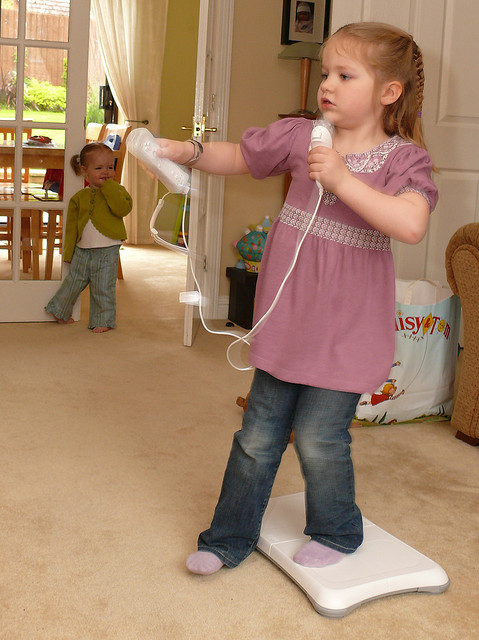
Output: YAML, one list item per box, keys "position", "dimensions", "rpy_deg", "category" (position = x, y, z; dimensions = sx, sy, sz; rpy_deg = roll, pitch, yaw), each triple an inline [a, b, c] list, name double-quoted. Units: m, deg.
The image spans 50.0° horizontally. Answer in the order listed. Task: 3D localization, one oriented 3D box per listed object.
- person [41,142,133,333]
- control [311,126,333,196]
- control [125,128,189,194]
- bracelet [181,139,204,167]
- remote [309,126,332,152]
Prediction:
- position: [-0.855, -0.457, 2.883]
  dimensions: [0.472, 1.032, 0.261]
  rpy_deg: [1, 7, -15]
  category: "person"
- position: [0.107, -0.211, 0.690]
  dimensions: [0.026, 0.102, 0.025]
  rpy_deg: [-3, -14, 1]
  category: "control"
- position: [-0.132, -0.265, 0.847]
  dimensions: [0.101, 0.103, 0.075]
  rpy_deg: [2, 7, -7]
  category: "control"
- position: [-0.080, -0.299, 0.921]
  dimensions: [0.017, 0.042, 0.043]
  rpy_deg: [2, 4, 3]
  category: "bracelet"
- position: [0.109, -0.242, 0.684]
  dimensions: [0.037, 0.033, 0.031]
  rpy_deg: [5, -10, 8]
  category: "remote"
